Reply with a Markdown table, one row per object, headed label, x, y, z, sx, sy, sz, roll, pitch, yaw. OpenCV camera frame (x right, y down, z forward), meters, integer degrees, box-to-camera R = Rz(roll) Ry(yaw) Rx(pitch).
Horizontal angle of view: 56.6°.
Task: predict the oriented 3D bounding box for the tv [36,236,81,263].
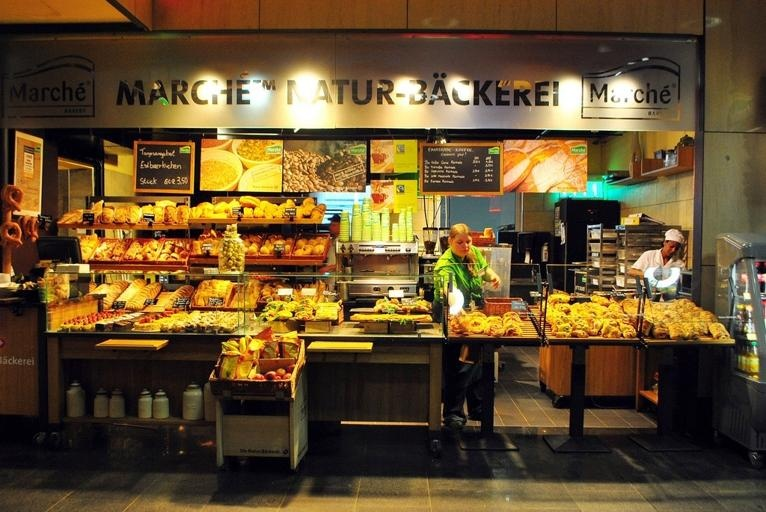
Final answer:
| label | x | y | z | sx | sy | sz | roll | pitch | yaw |
| --- | --- | --- | --- | --- | --- | --- | --- | --- | --- |
| tv | -3.668 | -0.095 | 8.181 | 0.455 | 0.396 | 0.320 | 1 | 13 | 1 |

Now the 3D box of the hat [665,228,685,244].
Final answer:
| label | x | y | z | sx | sy | sz | roll | pitch | yaw |
| --- | --- | --- | --- | --- | --- | --- | --- | --- | --- |
| hat | 3.747 | -0.254 | 9.126 | 0.215 | 0.179 | 0.256 | 1 | -2 | 13 |

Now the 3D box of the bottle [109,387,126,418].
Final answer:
| label | x | y | z | sx | sy | sz | roll | pitch | yaw |
| --- | --- | --- | --- | --- | --- | --- | --- | --- | --- |
| bottle | -2.864 | 1.579 | 7.669 | 0.167 | 0.284 | 0.165 | -3 | 5 | 0 |

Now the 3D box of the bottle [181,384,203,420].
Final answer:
| label | x | y | z | sx | sy | sz | roll | pitch | yaw |
| --- | --- | --- | --- | --- | --- | --- | --- | --- | --- |
| bottle | -2.021 | 1.551 | 7.654 | 0.244 | 0.349 | 0.226 | -1 | -4 | 0 |

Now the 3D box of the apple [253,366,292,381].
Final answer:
| label | x | y | z | sx | sy | sz | roll | pitch | yaw |
| --- | --- | --- | --- | --- | --- | --- | --- | --- | --- |
| apple | -1.098 | 1.179 | 7.059 | 0.392 | 0.094 | 0.176 | -3 | 5 | -4 |

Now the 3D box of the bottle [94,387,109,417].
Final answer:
| label | x | y | z | sx | sy | sz | roll | pitch | yaw |
| --- | --- | --- | --- | --- | --- | --- | --- | --- | --- |
| bottle | -3.017 | 1.579 | 7.650 | 0.175 | 0.290 | 0.141 | -7 | 6 | -35 |

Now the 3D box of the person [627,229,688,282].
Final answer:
| label | x | y | z | sx | sy | sz | roll | pitch | yaw |
| --- | --- | --- | --- | --- | --- | --- | --- | --- | --- |
| person | 3.623 | -0.049 | 9.361 | 0.387 | 0.622 | 0.793 | -4 | 5 | -15 |

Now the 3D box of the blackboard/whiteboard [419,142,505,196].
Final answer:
| label | x | y | z | sx | sy | sz | roll | pitch | yaw |
| --- | --- | --- | --- | --- | --- | --- | --- | --- | --- |
| blackboard/whiteboard | 0.969 | -1.080 | 8.745 | 1.073 | 0.638 | 0.023 | -2 | 4 | -16 |

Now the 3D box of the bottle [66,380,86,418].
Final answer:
| label | x | y | z | sx | sy | sz | roll | pitch | yaw |
| --- | --- | --- | --- | --- | --- | --- | --- | --- | --- |
| bottle | -3.314 | 1.535 | 7.646 | 0.185 | 0.382 | 0.097 | -4 | 5 | -6 |

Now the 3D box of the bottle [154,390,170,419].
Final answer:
| label | x | y | z | sx | sy | sz | roll | pitch | yaw |
| --- | --- | --- | --- | --- | --- | --- | --- | --- | --- |
| bottle | -2.384 | 1.593 | 7.623 | 0.160 | 0.287 | 0.130 | -5 | 5 | -16 |

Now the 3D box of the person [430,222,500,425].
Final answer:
| label | x | y | z | sx | sy | sz | roll | pitch | yaw |
| --- | --- | --- | --- | --- | --- | --- | --- | --- | --- |
| person | 0.919 | 0.794 | 7.890 | 0.665 | 2.271 | 0.964 | -2 | 5 | 19 |

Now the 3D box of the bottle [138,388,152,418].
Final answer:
| label | x | y | z | sx | sy | sz | roll | pitch | yaw |
| --- | --- | --- | --- | --- | --- | --- | --- | --- | --- |
| bottle | -2.547 | 1.584 | 7.632 | 0.163 | 0.283 | 0.146 | -5 | 5 | -20 |

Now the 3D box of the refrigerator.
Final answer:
| label | x | y | z | sx | sy | sz | roll | pitch | yaw |
| --- | --- | --- | --- | --- | --- | --- | --- | --- | --- |
| refrigerator | 3.377 | -0.207 | 12.027 | 1.133 | 1.559 | 2.260 | -2 | 5 | 13 |

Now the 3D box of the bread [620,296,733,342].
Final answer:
| label | x | y | z | sx | sy | sz | roll | pitch | yaw |
| --- | --- | --- | --- | --- | --- | --- | --- | --- | --- |
| bread | 3.116 | 0.690 | 7.509 | 0.648 | 0.146 | 0.641 | 0 | 16 | 4 |

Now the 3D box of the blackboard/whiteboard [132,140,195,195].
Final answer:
| label | x | y | z | sx | sy | sz | roll | pitch | yaw |
| --- | --- | --- | --- | --- | --- | --- | --- | --- | --- |
| blackboard/whiteboard | -2.743 | -1.121 | 8.918 | 0.877 | 0.750 | 0.088 | 0 | -3 | -1 |

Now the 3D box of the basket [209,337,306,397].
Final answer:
| label | x | y | z | sx | sy | sz | roll | pitch | yaw |
| --- | --- | --- | --- | --- | --- | --- | --- | --- | --- |
| basket | -1.256 | 1.111 | 7.211 | 0.850 | 0.584 | 0.514 | -2 | 5 | 6 |

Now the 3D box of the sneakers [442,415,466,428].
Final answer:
| label | x | y | z | sx | sy | sz | roll | pitch | yaw |
| --- | --- | --- | --- | --- | --- | --- | --- | --- | --- |
| sneakers | 0.804 | 1.862 | 8.001 | 0.240 | 0.135 | 0.110 | -3 | 5 | 0 |
